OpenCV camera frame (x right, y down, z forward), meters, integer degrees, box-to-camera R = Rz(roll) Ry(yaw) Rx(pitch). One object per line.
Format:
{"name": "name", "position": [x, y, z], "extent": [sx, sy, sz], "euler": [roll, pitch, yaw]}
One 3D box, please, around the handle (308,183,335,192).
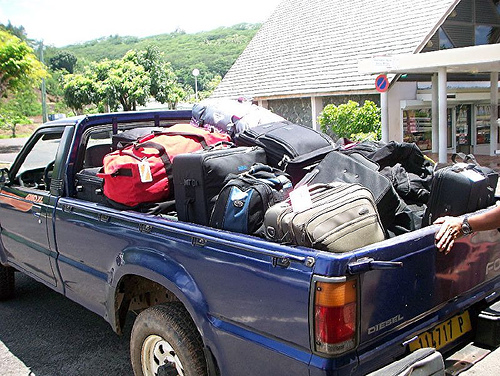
{"name": "handle", "position": [0.447, -0.004, 2.221], "extent": [0.100, 0.031, 0.023], "euler": [-18, 16, -1]}

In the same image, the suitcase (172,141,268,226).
{"name": "suitcase", "position": [-0.210, -0.043, 2.947], "extent": [0.427, 0.576, 0.823], "euler": [5, 12, 39]}

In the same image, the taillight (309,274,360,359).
{"name": "taillight", "position": [0.401, 0.599, 1.653], "extent": [0.243, 0.388, 0.093], "euler": [-2, 9, -5]}

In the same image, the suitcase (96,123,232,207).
{"name": "suitcase", "position": [-0.749, -0.215, 3.203], "extent": [0.941, 0.790, 1.192], "euler": [12, 13, 34]}

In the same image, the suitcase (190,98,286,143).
{"name": "suitcase", "position": [-0.251, -0.878, 4.233], "extent": [0.608, 0.318, 0.936], "euler": [-18, 31, -40]}

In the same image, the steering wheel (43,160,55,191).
{"name": "steering wheel", "position": [-2.245, -0.150, 3.996], "extent": [0.107, 0.313, 0.480], "euler": [-6, 10, -28]}

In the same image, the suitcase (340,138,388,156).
{"name": "suitcase", "position": [1.057, -0.372, 3.253], "extent": [0.280, 0.106, 0.230], "euler": [-15, 15, -15]}

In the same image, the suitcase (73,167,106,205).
{"name": "suitcase", "position": [-1.479, -0.032, 3.442], "extent": [0.363, 0.237, 0.367], "euler": [11, 15, 18]}

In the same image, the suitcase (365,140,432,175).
{"name": "suitcase", "position": [1.291, -0.299, 3.159], "extent": [0.331, 0.285, 0.487], "euler": [-4, 16, -30]}

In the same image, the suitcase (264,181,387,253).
{"name": "suitcase", "position": [0.439, 0.191, 2.141], "extent": [0.641, 0.433, 0.577], "euler": [-24, 13, -33]}

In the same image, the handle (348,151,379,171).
{"name": "handle", "position": [0.918, -0.218, 2.866], "extent": [0.166, 0.058, 0.172], "euler": [14, 25, -10]}

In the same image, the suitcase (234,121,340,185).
{"name": "suitcase", "position": [0.337, -0.444, 3.424], "extent": [0.704, 0.358, 0.707], "euler": [26, 30, 31]}

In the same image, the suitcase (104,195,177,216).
{"name": "suitcase", "position": [-0.883, 0.169, 3.065], "extent": [0.247, 0.106, 0.433], "euler": [0, -1, 43]}

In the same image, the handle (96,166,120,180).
{"name": "handle", "position": [-1.180, -0.122, 2.975], "extent": [0.121, 0.063, 0.169], "euler": [-1, 3, 7]}

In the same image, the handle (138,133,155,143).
{"name": "handle", "position": [-0.946, -0.446, 3.270], "extent": [0.100, 0.028, 0.102], "euler": [-21, -1, 34]}

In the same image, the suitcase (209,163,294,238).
{"name": "suitcase", "position": [0.066, 0.041, 2.493], "extent": [0.558, 0.445, 0.798], "euler": [12, 17, 39]}

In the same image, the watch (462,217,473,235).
{"name": "watch", "position": [1.261, 0.224, 2.073], "extent": [0.044, 0.094, 0.061], "euler": [6, 12, 41]}
